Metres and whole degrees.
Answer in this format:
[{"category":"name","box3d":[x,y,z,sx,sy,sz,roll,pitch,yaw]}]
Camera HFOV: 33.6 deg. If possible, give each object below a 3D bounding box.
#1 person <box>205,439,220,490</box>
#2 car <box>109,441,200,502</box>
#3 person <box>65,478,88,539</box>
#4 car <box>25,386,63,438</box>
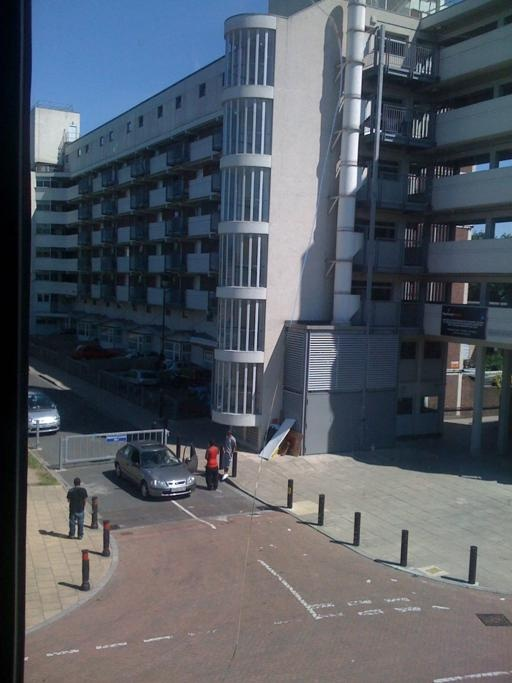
[{"category":"person","box3d":[-1.012,2.901,19.803,0.299,1.149,0.300,1,4,-15]},{"category":"car","box3d":[-2.340,2.937,19.321,0.932,0.623,1.852,-1,5,-28]},{"category":"person","box3d":[-3.213,2.929,15.147,0.316,1.075,1.020,1,4,-12]},{"category":"car","box3d":[-6.908,1.963,26.590,1.179,0.927,2.723,-3,17,-22]}]
